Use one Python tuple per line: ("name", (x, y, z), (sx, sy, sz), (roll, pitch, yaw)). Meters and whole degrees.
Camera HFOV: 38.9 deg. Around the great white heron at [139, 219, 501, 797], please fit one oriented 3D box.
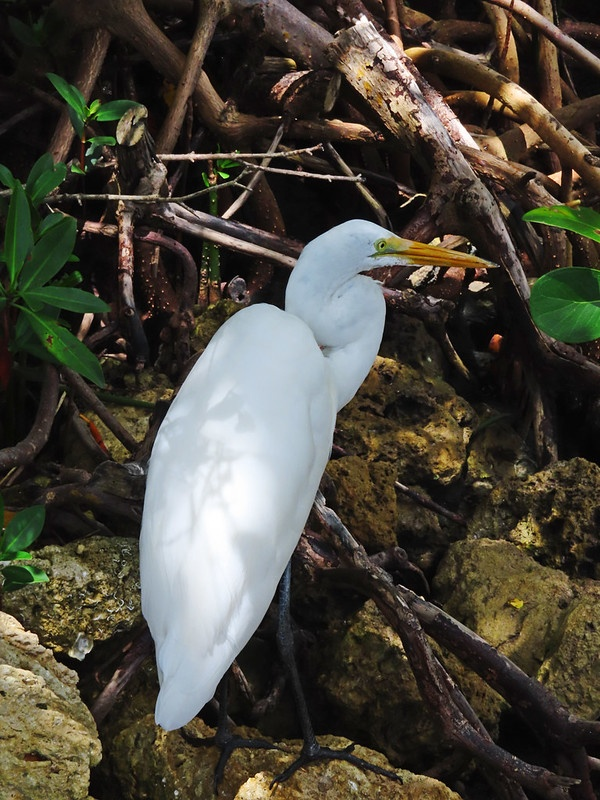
("great white heron", (-0.094, 0.090, 2.051), (0.487, 1.029, 1.001), (27, 26, 5))
